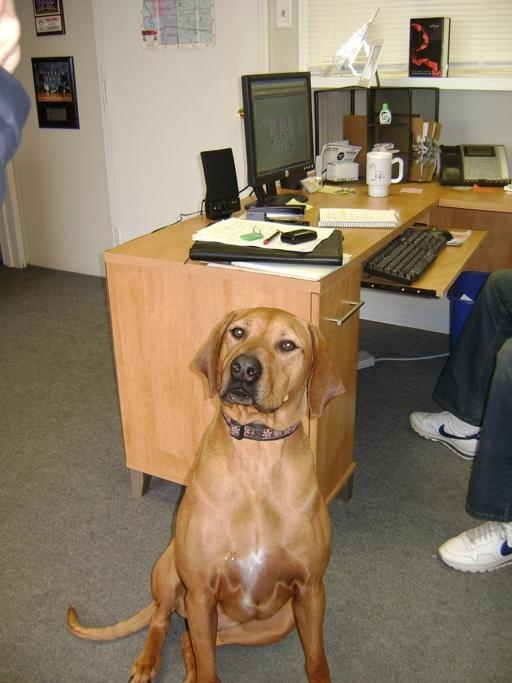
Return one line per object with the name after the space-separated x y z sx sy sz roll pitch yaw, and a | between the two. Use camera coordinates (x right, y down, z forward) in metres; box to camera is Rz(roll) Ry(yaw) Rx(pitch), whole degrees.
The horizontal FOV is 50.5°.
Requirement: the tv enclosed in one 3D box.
0.093 -0.767 2.080 0.182 0.523 0.519 7 39 23 | tv

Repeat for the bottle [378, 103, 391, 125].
0.640 -1.110 2.656 0.063 0.096 0.120 4 25 15 | bottle

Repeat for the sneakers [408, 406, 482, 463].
0.753 0.335 2.180 0.281 0.132 0.110 32 67 22 | sneakers

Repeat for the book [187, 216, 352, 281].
0.053 -0.277 1.515 0.464 0.054 0.409 10 28 25 | book

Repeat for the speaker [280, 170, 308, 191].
0.163 -0.689 2.328 0.054 0.073 0.103 14 32 25 | speaker

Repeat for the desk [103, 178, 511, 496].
0.215 -0.013 1.689 0.653 0.582 1.115 9 27 20 | desk

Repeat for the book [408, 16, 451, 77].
0.874 -1.462 2.684 0.229 0.312 0.098 16 34 32 | book
